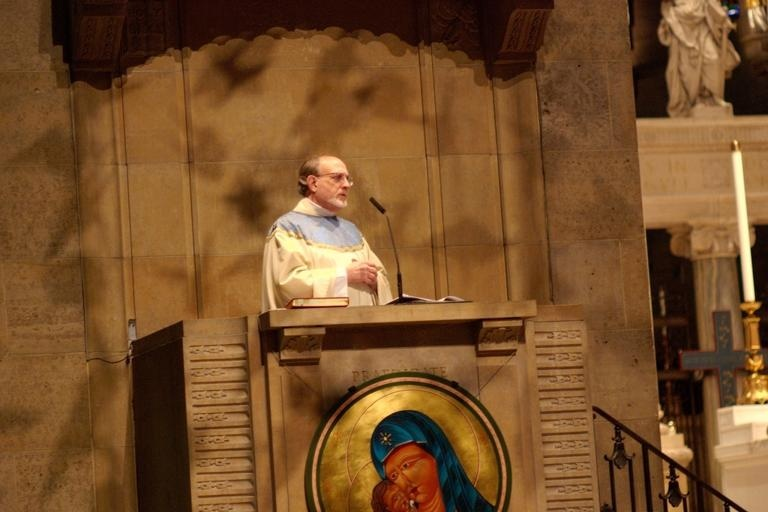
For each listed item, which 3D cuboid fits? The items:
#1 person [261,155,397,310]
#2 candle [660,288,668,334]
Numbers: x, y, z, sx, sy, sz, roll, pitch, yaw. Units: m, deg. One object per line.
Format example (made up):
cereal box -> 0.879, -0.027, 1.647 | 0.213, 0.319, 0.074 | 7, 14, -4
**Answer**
person -> -0.522, -0.171, 15.974 | 0.717, 1.261, 0.946 | -22, -28, 38
candle -> 2.786, 0.476, 18.898 | 0.075, 0.319, 0.048 | -5, 3, -10
